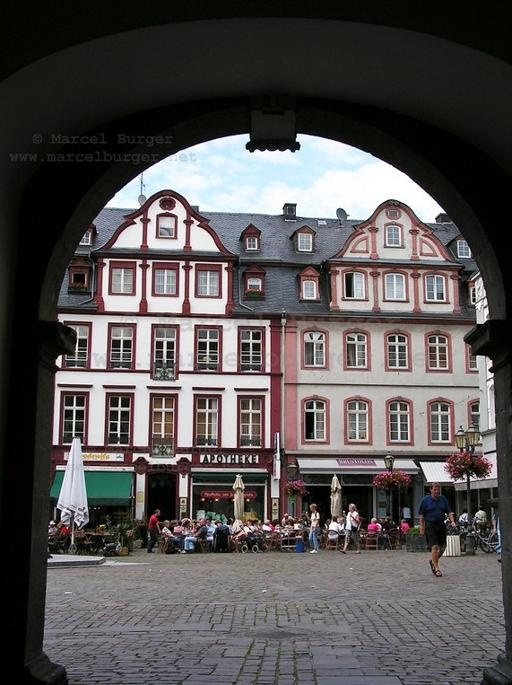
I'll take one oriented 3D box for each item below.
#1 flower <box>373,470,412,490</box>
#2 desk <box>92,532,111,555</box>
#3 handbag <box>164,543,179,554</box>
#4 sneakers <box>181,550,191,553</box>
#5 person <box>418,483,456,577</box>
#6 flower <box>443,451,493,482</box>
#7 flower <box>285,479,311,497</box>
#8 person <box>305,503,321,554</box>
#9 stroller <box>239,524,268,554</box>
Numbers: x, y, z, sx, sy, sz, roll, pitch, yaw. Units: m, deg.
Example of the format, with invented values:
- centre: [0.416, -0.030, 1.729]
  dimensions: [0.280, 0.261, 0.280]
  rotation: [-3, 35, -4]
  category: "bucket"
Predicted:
- centre: [5.403, 5.207, 31.077]
  dimensions: [1.457, 0.933, 1.365]
  rotation: [5, -8, -23]
  category: "flower"
- centre: [-4.626, 5.981, 24.479]
  dimensions: [0.548, 0.595, 2.056]
  rotation: [2, -12, -10]
  category: "desk"
- centre: [-2.732, 6.629, 26.502]
  dimensions: [0.331, 0.441, 0.455]
  rotation: [-1, -8, 8]
  category: "handbag"
- centre: [-2.273, 6.728, 26.382]
  dimensions: [0.327, 0.135, 0.109]
  rotation: [-5, -15, 16]
  category: "sneakers"
- centre: [3.239, 3.325, 14.658]
  dimensions: [0.669, 1.559, 0.613]
  rotation: [-1, -9, 12]
  category: "person"
- centre: [6.648, 3.834, 25.838]
  dimensions: [1.314, 1.076, 1.331]
  rotation: [0, -1, 32]
  category: "flower"
- centre: [1.793, 6.582, 37.031]
  dimensions: [0.801, 0.560, 0.766]
  rotation: [-2, -1, -19]
  category: "flower"
- centre: [1.877, 6.184, 27.296]
  dimensions: [0.540, 1.614, 0.560]
  rotation: [3, -10, -17]
  category: "person"
- centre: [-0.067, 6.545, 27.284]
  dimensions: [0.731, 1.028, 1.046]
  rotation: [4, -12, -18]
  category: "stroller"
